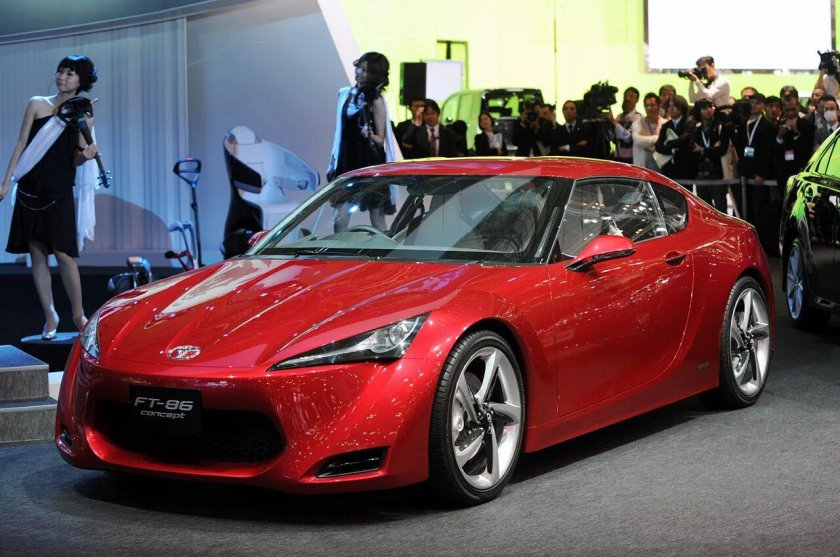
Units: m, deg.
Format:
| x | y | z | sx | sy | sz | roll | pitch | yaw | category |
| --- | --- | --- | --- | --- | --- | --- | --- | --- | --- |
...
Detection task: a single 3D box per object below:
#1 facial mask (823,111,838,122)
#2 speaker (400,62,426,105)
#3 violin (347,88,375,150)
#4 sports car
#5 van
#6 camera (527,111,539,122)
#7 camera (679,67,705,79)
| x | y | z | sx | sy | sz | roll | pitch | yaw | category |
| --- | --- | --- | --- | --- | --- | --- | --- | --- | --- |
| 8.790 | -3.474 | 14.049 | 0.224 | 0.186 | 0.229 | -4 | -27 | 44 | facial mask |
| -0.232 | -5.181 | 18.027 | 0.739 | 1.363 | 0.813 | 5 | -17 | -8 | speaker |
| -0.737 | -1.930 | 7.860 | 0.341 | 0.615 | 0.227 | -2 | 6 | 42 | violin |
| 0.183 | 0.182 | 4.193 | 4.390 | 1.954 | 1.624 | -3 | 5 | -33 | sports car |
| 2.245 | -5.090 | 21.106 | 4.253 | 2.510 | 3.020 | -2 | 13 | -23 | van |
| 2.619 | -3.773 | 15.202 | 0.214 | 0.226 | 0.200 | -5 | 10 | -14 | camera |
| 6.345 | -4.782 | 15.242 | 0.384 | 0.163 | 0.377 | 4 | 3 | -4 | camera |
